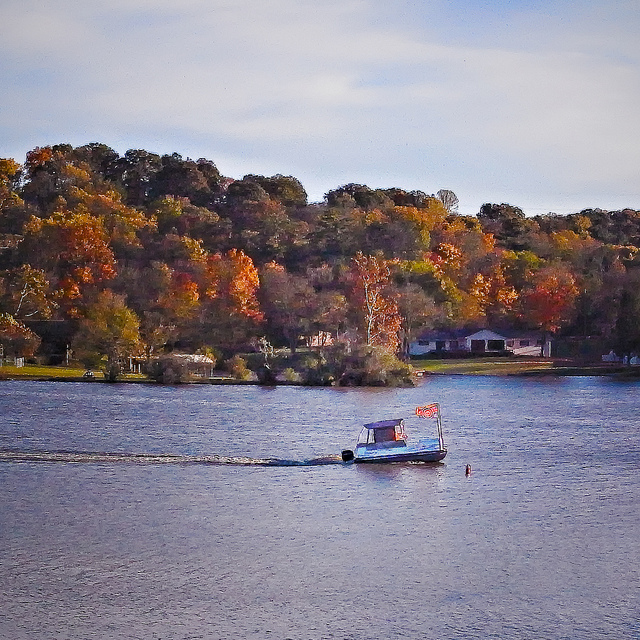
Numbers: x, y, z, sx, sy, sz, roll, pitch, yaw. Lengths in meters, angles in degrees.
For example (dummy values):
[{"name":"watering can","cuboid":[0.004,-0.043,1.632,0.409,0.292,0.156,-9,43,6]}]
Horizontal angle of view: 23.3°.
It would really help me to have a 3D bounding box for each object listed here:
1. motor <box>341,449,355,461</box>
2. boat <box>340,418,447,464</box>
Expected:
[{"name":"motor","cuboid":[1.289,6.849,77.230,0.562,0.546,0.599,-1,2,4]},{"name":"boat","cuboid":[3.242,6.243,78.067,6.218,2.359,2.074,-3,4,3]}]
